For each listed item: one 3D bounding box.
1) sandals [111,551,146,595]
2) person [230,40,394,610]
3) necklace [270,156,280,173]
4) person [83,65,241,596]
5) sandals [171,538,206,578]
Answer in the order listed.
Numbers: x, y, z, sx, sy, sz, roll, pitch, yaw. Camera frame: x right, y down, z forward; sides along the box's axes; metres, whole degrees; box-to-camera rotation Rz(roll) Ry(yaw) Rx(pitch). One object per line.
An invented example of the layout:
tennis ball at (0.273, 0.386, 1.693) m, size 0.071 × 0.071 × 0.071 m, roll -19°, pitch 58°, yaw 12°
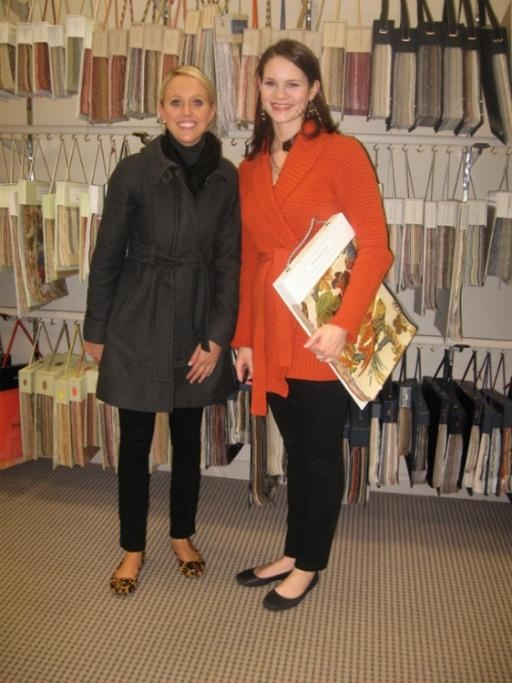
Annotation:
sandals at (-0.390, 0.712, 1.604) m, size 0.052 × 0.064 × 0.159 m, roll 2°, pitch 11°, yaw 1°
person at (0.115, -0.017, 1.377) m, size 0.255 × 1.429 × 0.477 m, roll -2°, pitch 10°, yaw -20°
necklace at (0.050, -0.466, 1.385) m, size 0.009 × 0.041 × 0.042 m, roll -15°, pitch -18°, yaw 2°
person at (-0.265, 0.014, 1.521) m, size 0.447 × 1.510 × 0.224 m, roll -2°, pitch 10°, yaw -19°
sandals at (-0.217, 0.694, 1.705) m, size 0.074 × 0.035 × 0.153 m, roll -10°, pitch 55°, yaw -33°
